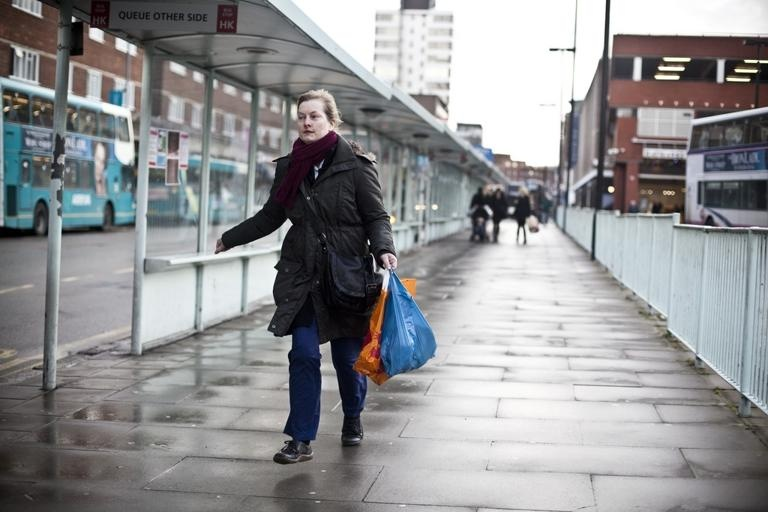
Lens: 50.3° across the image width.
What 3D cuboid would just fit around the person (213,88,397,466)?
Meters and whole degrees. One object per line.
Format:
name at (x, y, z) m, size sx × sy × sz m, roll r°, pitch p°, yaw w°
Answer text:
person at (-0.487, 0.124, 6.562) m, size 1.043 × 2.868 × 0.777 m, roll -2°, pitch 7°, yaw -20°

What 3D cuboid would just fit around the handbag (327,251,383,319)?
handbag at (-0.241, 0.225, 6.437) m, size 0.286 × 0.506 × 0.518 m, roll -2°, pitch -5°, yaw 43°

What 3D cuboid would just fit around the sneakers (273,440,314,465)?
sneakers at (-0.675, 1.526, 6.359) m, size 0.134 × 0.171 × 0.380 m, roll -5°, pitch -11°, yaw 44°
